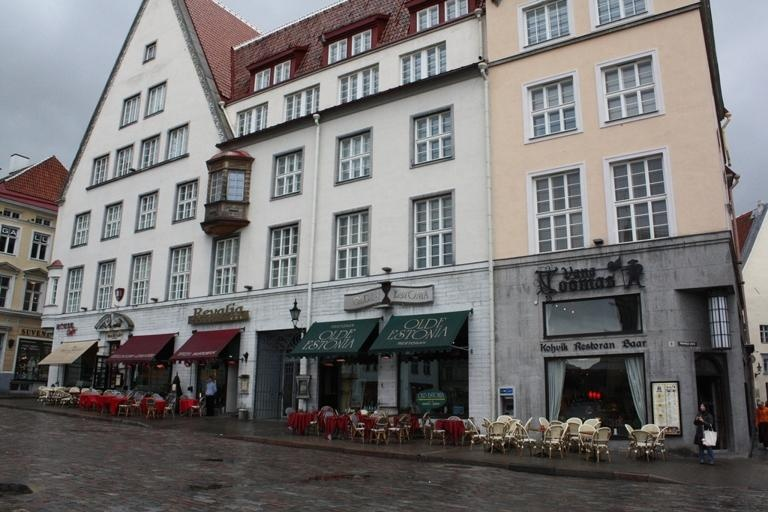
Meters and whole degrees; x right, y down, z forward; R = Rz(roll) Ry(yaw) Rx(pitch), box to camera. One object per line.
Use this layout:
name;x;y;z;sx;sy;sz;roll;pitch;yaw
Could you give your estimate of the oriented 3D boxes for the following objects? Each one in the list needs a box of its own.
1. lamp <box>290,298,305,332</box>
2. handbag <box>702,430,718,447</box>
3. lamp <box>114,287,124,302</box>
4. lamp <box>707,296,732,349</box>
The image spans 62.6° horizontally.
lamp;-4.289;2.969;31.174;0.783;1.660;1.743;2;-5;-8
handbag;11.326;6.336;21.998;0.634;0.717;0.241;11;-16;-32
lamp;-16.201;2.359;38.661;0.564;0.869;1.395;4;-6;-23
lamp;12.916;2.521;24.273;0.740;2.035;0.463;-1;-6;24
